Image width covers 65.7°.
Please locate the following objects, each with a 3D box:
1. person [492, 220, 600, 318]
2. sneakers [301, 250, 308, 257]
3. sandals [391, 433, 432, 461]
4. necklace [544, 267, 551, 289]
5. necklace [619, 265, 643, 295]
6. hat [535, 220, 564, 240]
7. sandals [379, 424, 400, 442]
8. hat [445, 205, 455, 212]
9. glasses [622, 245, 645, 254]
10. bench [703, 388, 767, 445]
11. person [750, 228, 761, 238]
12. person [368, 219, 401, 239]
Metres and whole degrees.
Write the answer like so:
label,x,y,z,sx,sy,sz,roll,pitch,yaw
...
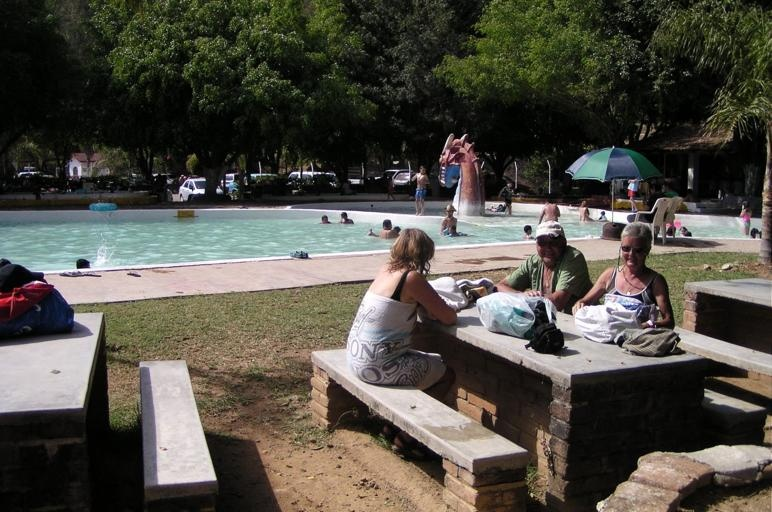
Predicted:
label,x,y,z,sx,sy,sz,roll,pitch,yaw
person,1.657,0.211,6.167,1.178,1.062,0.909,-17,15,-39
sneakers,-1.893,-0.019,13.938,0.155,0.074,0.239,0,14,-17
sandals,0.223,1.679,5.179,0.243,0.246,0.093,-20,26,54
necklace,1.675,0.251,6.149,0.039,0.160,0.113,5,1,-23
necklace,2.248,0.244,5.629,0.276,0.218,0.173,18,-1,12
hat,1.672,-0.269,6.050,0.248,0.163,0.297,2,11,20
sandals,0.043,1.583,5.366,0.066,0.114,0.179,-42,5,-5
hat,2.208,-1.591,20.125,0.458,0.218,0.619,0,6,0
glasses,2.284,-0.055,5.501,0.195,0.061,0.051,0,11,13
bench,2.911,1.355,5.045,0.465,0.290,0.637,-3,6,-15
person,11.372,-0.716,18.345,0.244,0.308,1.754,4,12,30
person,0.042,-0.794,19.293,0.875,0.699,1.423,-3,12,-14
